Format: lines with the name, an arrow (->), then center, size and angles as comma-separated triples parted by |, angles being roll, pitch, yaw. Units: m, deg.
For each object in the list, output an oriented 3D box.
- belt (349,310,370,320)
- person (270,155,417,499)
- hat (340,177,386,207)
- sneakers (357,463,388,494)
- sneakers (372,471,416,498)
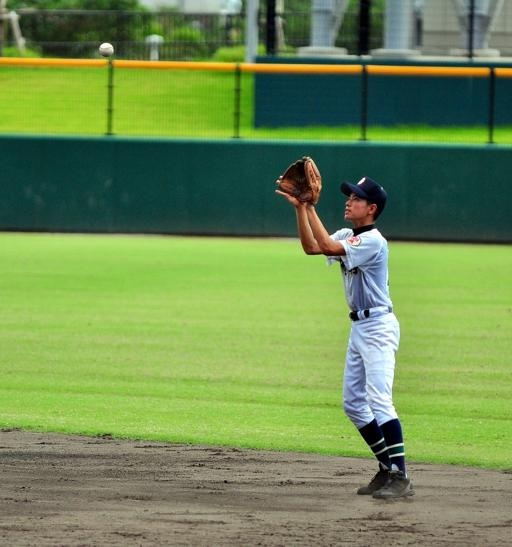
belt -> 0.852, 0.354, 13.258 | 0.089, 0.058, 0.121 | -5, 4, 5
person -> 0.798, 0.435, 13.312 | 0.927, 2.713, 0.932 | -1, 10, 1
hat -> 0.900, -0.676, 13.376 | 0.334, 0.171, 0.209 | 33, 9, -12
sneakers -> 0.919, 1.719, 13.189 | 0.360, 0.243, 0.122 | -1, 2, -22
sneakers -> 1.149, 1.744, 13.220 | 0.378, 0.178, 0.138 | 2, 0, -44
